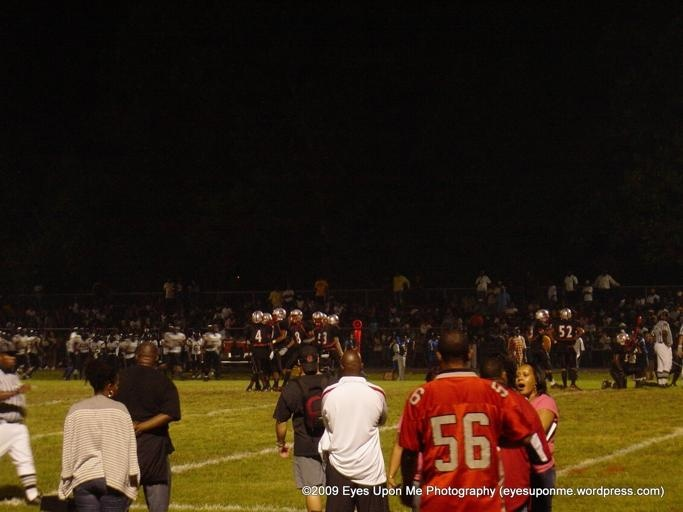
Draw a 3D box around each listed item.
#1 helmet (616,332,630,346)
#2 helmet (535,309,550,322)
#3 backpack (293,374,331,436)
[{"bbox_3d":[8.496,2.539,20.804,0.354,0.375,0.455,-15,20,24],"label":"helmet"},{"bbox_3d":[5.861,1.765,20.115,0.269,0.410,0.568,-10,-15,31],"label":"helmet"},{"bbox_3d":[-0.367,1.904,8.921,0.387,0.669,0.422,-14,-4,40],"label":"backpack"}]
